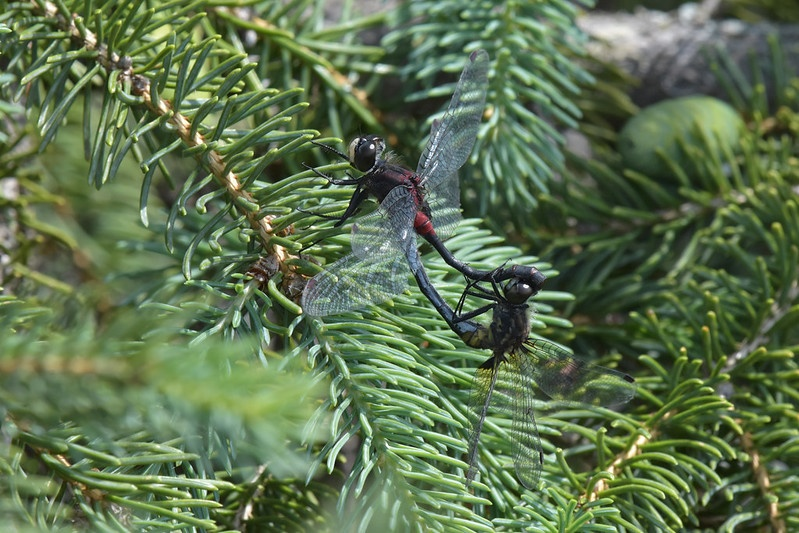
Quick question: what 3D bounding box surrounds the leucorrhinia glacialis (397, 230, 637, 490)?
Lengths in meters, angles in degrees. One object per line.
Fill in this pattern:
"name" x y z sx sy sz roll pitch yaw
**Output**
"leucorrhinia glacialis" 0.193 0.178 1.916 0.560 0.252 0.377 41 88 -18
